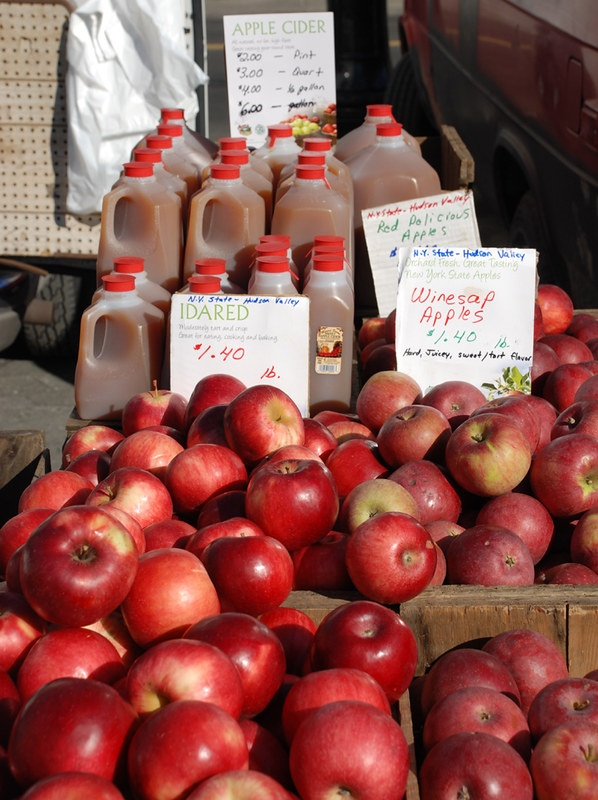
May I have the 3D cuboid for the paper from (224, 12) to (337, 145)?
[{"bbox_3d":[-0.095,-1.754,3.606,0.582,0.679,0.058,-10,58,-7],"label":"paper"}]
